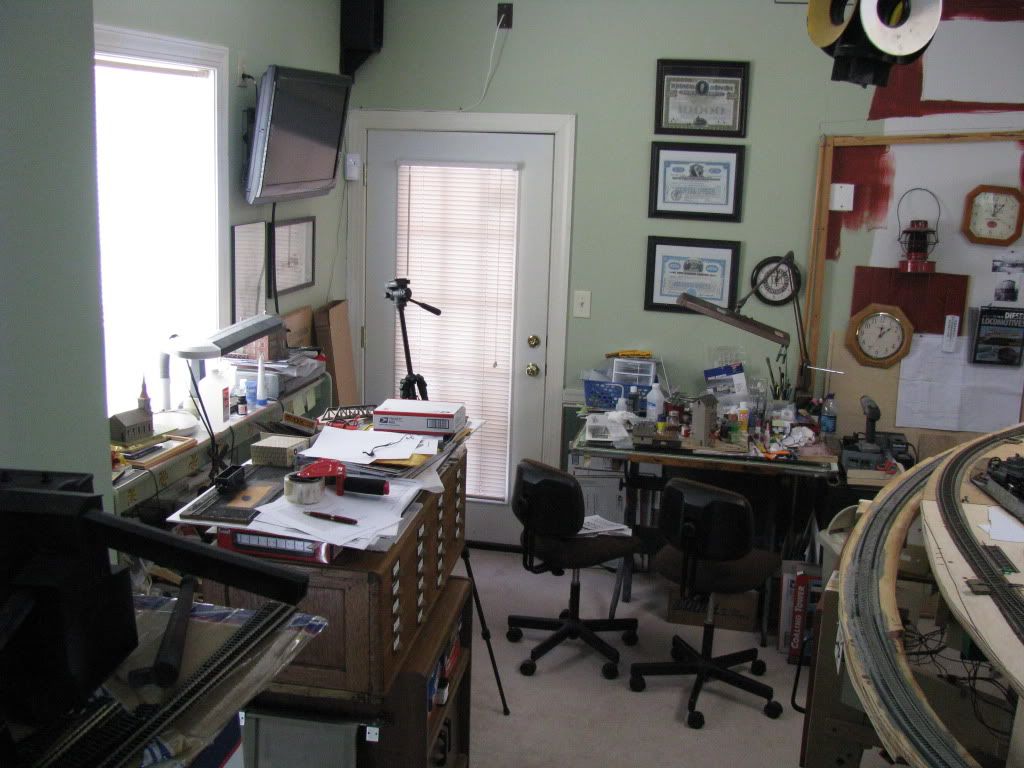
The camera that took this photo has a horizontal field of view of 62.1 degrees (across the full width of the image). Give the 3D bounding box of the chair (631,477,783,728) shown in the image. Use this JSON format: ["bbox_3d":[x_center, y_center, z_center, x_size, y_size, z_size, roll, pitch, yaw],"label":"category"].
[{"bbox_3d":[0.897,0.886,3.724,0.590,1.012,0.637,-8,13,-36],"label":"chair"}]

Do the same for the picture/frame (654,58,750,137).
[{"bbox_3d":[1.008,-1.508,4.419,0.367,0.335,0.039,2,8,6],"label":"picture/frame"}]

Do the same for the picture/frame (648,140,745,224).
[{"bbox_3d":[0.998,-1.090,4.490,0.397,0.356,0.031,2,6,6],"label":"picture/frame"}]

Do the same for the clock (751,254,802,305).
[{"bbox_3d":[1.407,-0.546,4.514,0.268,0.277,0.104,3,9,17],"label":"clock"}]

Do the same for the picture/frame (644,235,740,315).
[{"bbox_3d":[0.984,-0.603,4.538,0.443,0.411,0.034,1,14,5],"label":"picture/frame"}]

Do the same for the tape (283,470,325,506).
[{"bbox_3d":[-0.534,0.257,2.188,0.079,0.051,0.082,4,12,7],"label":"tape"}]

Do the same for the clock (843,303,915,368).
[{"bbox_3d":[1.943,-0.256,4.457,0.299,0.346,0.036,2,7,9],"label":"clock"}]

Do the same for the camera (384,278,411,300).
[{"bbox_3d":[-0.467,-0.394,3.560,0.091,0.089,0.148,-1,9,-10],"label":"camera"}]

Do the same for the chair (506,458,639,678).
[{"bbox_3d":[0.272,0.804,3.912,0.606,0.918,0.578,-6,8,-38],"label":"chair"}]

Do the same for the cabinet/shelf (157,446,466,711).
[{"bbox_3d":[-0.487,0.519,2.682,0.554,0.408,1.110,4,12,5],"label":"cabinet/shelf"}]

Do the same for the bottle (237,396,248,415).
[{"bbox_3d":[-1.097,0.086,3.481,0.036,0.066,0.069,-2,9,-18],"label":"bottle"}]
